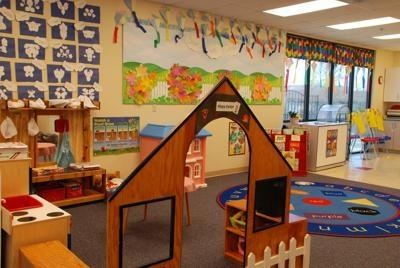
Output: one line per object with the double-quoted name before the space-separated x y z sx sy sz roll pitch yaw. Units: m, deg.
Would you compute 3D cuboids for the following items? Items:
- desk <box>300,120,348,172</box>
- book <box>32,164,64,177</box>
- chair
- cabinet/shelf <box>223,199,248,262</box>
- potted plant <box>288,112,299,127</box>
"desk" 3.160 0.255 8.361 1.308 1.113 0.726 -5 9 -36
"book" -2.393 0.559 4.987 0.436 0.112 0.411 -5 7 -29
"chair" 5.243 0.131 9.766 0.616 1.309 1.622 1 5 41
"cabinet/shelf" 0.426 1.173 3.883 0.269 0.634 0.476 0 6 7
"potted plant" 2.434 -0.375 8.225 0.336 0.376 0.372 0 2 19
